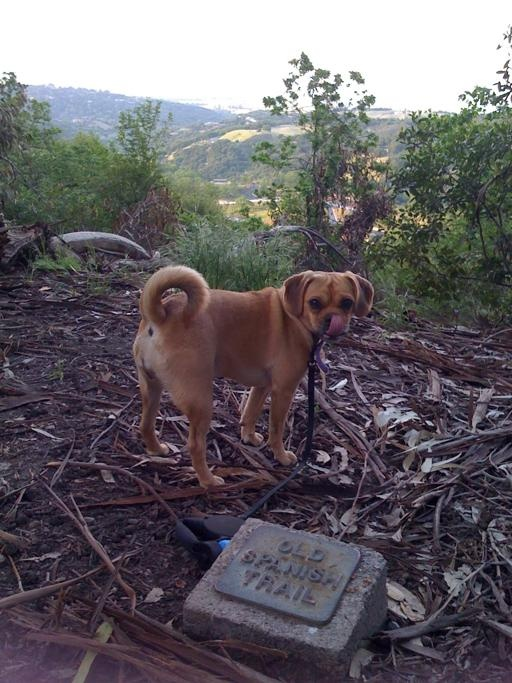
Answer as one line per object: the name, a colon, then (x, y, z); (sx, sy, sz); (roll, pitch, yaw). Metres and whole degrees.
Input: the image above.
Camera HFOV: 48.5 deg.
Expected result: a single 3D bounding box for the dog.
dog: (-0.050, 0.153, 2.924); (1.123, 1.101, 0.487); (-2, 15, -20)
